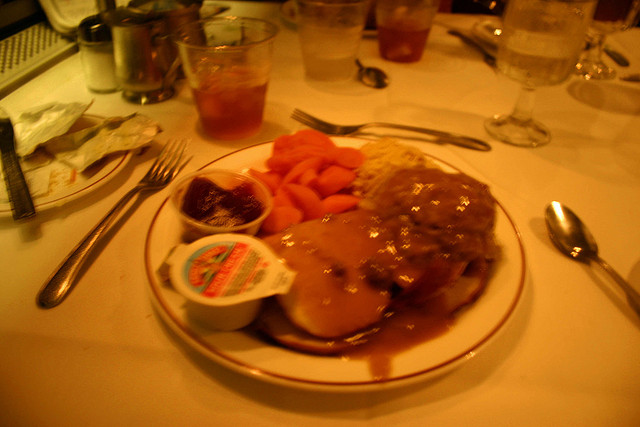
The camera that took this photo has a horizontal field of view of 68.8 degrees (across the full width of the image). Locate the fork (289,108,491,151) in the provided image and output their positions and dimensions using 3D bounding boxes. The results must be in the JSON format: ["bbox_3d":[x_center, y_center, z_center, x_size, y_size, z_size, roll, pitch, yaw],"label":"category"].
[{"bbox_3d":[0.207,-0.268,1.515,0.676,0.090,0.071,16,92,28],"label":"fork"}]

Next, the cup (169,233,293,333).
[{"bbox_3d":[-0.177,0.149,0.984,0.237,0.080,0.176,17,54,5],"label":"cup"}]

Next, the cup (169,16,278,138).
[{"bbox_3d":[-0.321,-0.422,1.484,0.402,0.302,0.304,-5,39,-8],"label":"cup"}]

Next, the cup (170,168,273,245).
[{"bbox_3d":[-0.234,-0.015,1.133,0.221,0.089,0.207,7,46,-7],"label":"cup"}]

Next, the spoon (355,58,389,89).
[{"bbox_3d":[0.186,-0.514,1.720,0.080,0.025,0.111,-21,58,-8],"label":"spoon"}]

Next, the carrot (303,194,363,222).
[{"bbox_3d":[0.040,-0.009,1.140,0.075,0.113,0.065,1,83,-2],"label":"carrot"}]

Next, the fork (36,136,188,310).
[{"bbox_3d":[-0.491,-0.025,1.210,0.055,0.067,0.492,45,71,-17],"label":"fork"}]

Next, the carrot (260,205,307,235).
[{"bbox_3d":[-0.103,0.018,1.149,0.075,0.096,0.028,-19,67,33],"label":"carrot"}]
